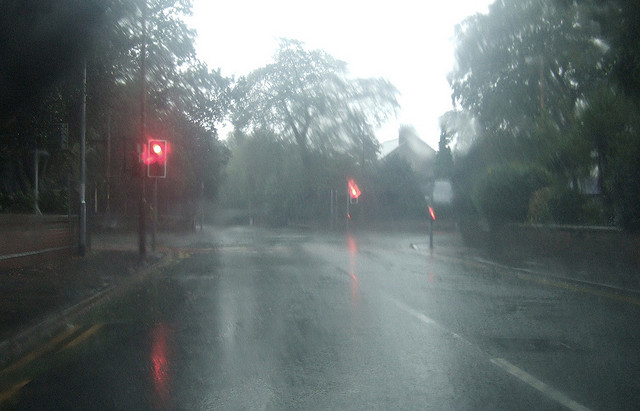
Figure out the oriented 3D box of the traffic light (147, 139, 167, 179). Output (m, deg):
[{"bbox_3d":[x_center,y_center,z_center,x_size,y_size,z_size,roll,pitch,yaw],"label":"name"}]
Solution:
[{"bbox_3d":[-6.979,-2.025,25.157,0.777,1.549,1.315,-3,11,-17],"label":"traffic light"}]
